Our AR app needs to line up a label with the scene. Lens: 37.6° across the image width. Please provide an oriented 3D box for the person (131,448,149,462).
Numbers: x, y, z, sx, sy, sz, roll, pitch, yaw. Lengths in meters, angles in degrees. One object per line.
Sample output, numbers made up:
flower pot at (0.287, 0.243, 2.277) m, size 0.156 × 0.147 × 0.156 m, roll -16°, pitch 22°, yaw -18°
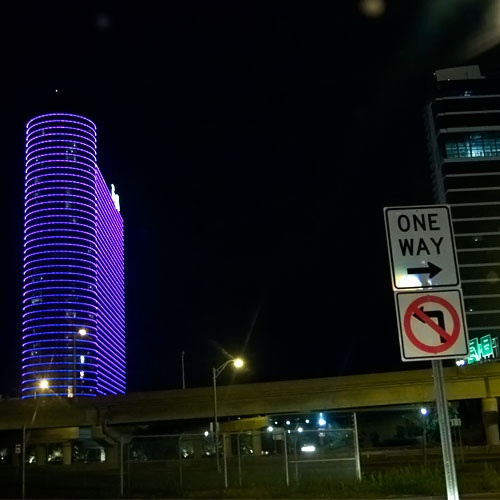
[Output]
person at (-5.113, 9.624, 34.329) m, size 0.761 × 0.491 × 0.777 m, roll 0°, pitch -22°, yaw -9°
